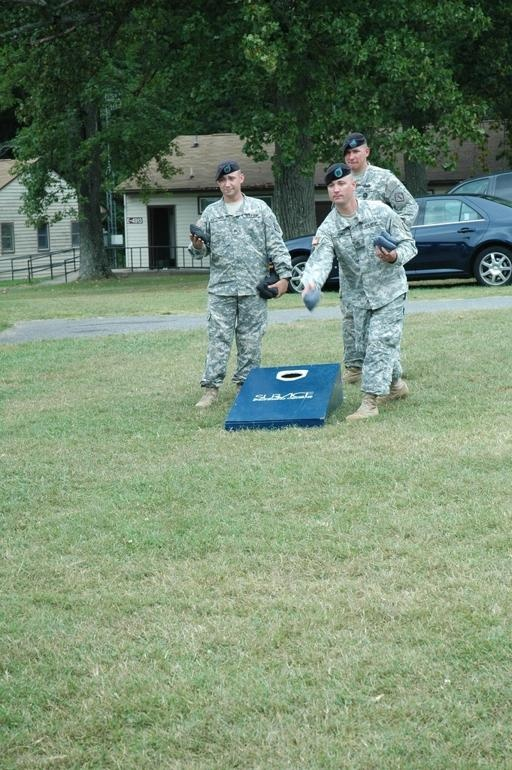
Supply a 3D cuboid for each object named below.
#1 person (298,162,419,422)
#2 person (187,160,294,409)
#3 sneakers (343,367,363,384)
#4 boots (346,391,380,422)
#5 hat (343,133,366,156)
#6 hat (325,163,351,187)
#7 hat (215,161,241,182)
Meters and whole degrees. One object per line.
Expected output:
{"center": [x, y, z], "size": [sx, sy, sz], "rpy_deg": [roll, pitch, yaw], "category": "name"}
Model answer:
{"center": [0.662, -0.667, 6.295], "size": [0.648, 1.407, 1.536], "rpy_deg": [1, 8, 9], "category": "person"}
{"center": [-0.104, -0.704, 6.891], "size": [0.697, 1.645, 0.449], "rpy_deg": [-2, 8, -10], "category": "person"}
{"center": [0.715, -0.069, 7.423], "size": [0.143, 0.127, 0.085], "rpy_deg": [2, 1, 4], "category": "sneakers"}
{"center": [0.679, 0.140, 6.165], "size": [0.278, 0.163, 0.106], "rpy_deg": [2, -5, -44], "category": "boots"}
{"center": [0.678, -1.643, 6.744], "size": [0.119, 0.112, 0.155], "rpy_deg": [19, 37, 42], "category": "hat"}
{"center": [0.490, -1.282, 6.051], "size": [0.125, 0.084, 0.150], "rpy_deg": [-22, 6, 14], "category": "hat"}
{"center": [-0.193, -1.462, 6.750], "size": [0.122, 0.070, 0.161], "rpy_deg": [-17, 8, 10], "category": "hat"}
